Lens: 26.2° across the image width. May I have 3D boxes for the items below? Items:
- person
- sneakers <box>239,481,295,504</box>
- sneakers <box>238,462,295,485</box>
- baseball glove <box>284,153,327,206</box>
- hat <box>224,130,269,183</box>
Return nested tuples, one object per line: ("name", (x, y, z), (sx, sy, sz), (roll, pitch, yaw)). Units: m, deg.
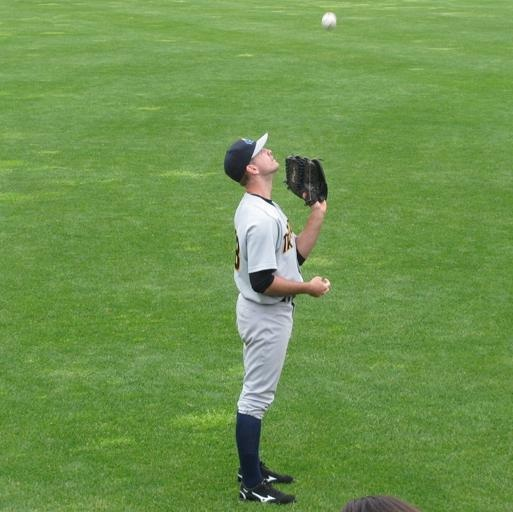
("person", (0.077, 0.471, 8.441), (0.785, 2.650, 0.886), (4, 15, -2))
("sneakers", (0.083, 1.781, 8.461), (0.409, 0.197, 0.162), (2, 1, 0))
("sneakers", (0.078, 1.677, 8.617), (0.452, 0.218, 0.172), (-1, 11, -1))
("baseball glove", (0.384, -0.606, 8.676), (0.341, 0.358, 0.183), (14, 30, 32))
("hat", (-0.098, -0.757, 8.472), (0.209, 0.389, 0.274), (31, 8, -16))
